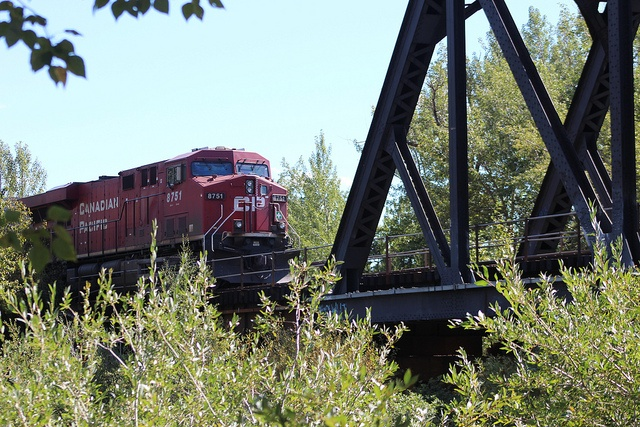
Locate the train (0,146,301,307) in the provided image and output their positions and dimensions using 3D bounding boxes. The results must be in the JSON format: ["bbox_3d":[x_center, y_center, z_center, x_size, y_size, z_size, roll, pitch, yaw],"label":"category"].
[{"bbox_3d":[-5.150,0.690,24.267,3.488,4.077,10.122,4,-10,-43],"label":"train"}]
